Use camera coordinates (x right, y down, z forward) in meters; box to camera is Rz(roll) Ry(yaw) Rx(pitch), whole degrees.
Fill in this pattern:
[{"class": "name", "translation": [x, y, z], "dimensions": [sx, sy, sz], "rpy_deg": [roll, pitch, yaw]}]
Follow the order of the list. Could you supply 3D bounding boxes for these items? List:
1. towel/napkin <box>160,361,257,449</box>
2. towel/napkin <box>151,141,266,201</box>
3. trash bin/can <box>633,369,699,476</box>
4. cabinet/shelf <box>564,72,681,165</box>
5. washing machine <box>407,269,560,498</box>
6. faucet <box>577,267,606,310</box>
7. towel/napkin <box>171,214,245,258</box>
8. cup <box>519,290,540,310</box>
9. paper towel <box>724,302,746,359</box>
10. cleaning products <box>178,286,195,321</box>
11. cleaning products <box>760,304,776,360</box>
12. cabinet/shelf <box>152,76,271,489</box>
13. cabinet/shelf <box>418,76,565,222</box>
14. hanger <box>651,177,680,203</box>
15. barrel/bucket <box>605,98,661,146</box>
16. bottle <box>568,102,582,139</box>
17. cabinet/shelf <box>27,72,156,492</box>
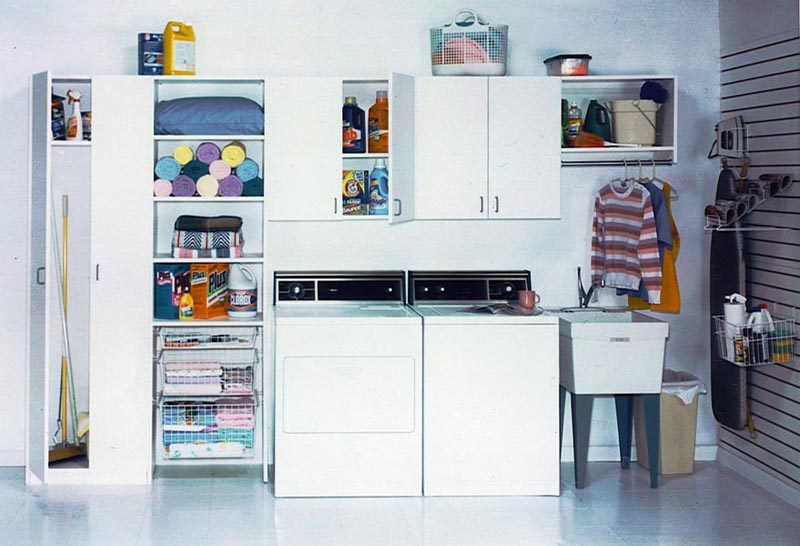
[{"class": "towel/napkin", "translation": [-1.370, 0.924, 6.117], "dimensions": [0.600, 0.574, 0.223], "rpy_deg": [0, 7, 0]}, {"class": "towel/napkin", "translation": [-1.334, -0.714, 6.021], "dimensions": [0.749, 0.351, 0.236], "rpy_deg": [-4, 16, -14]}, {"class": "trash bin/can", "translation": [1.838, 1.080, 6.322], "dimensions": [0.609, 0.741, 0.589], "rpy_deg": [-1, 1, 0]}, {"class": "cabinet/shelf", "translation": [1.568, -1.124, 6.308], "dimensions": [0.822, 0.591, 0.458], "rpy_deg": [-1, 2, 6]}, {"class": "washing machine", "translation": [0.610, 0.814, 5.769], "dimensions": [1.252, 1.800, 1.244], "rpy_deg": [0, -2, -3]}, {"class": "faucet", "translation": [1.418, 0.110, 6.417], "dimensions": [0.199, 0.285, 0.150], "rpy_deg": [-1, 15, -4]}, {"class": "towel/napkin", "translation": [-1.346, -0.246, 6.061], "dimensions": [0.358, 0.215, 0.343], "rpy_deg": [0, 1, -5]}, {"class": "cup", "translation": [0.907, 0.190, 6.010], "dimensions": [0.171, 0.160, 0.110], "rpy_deg": [0, 2, 0]}, {"class": "paper towel", "translation": [2.256, 0.394, 5.856], "dimensions": [0.140, 0.371, 0.138], "rpy_deg": [6, 16, 21]}, {"class": "cleaning products", "translation": [-1.485, 0.218, 6.014], "dimensions": [0.108, 0.205, 0.078], "rpy_deg": [-5, 16, -18]}, {"class": "cleaning products", "translation": [2.477, 0.397, 5.845], "dimensions": [0.114, 0.317, 0.193], "rpy_deg": [6, 16, 21]}, {"class": "cabinet/shelf", "translation": [-1.320, 0.000, 5.954], "dimensions": [0.774, 2.633, 0.630], "rpy_deg": [0, 14, -13]}, {"class": "cabinet/shelf", "translation": [0.616, -0.883, 6.317], "dimensions": [1.081, 1.036, 0.398], "rpy_deg": [1, -5, -1]}, {"class": "hanger", "translation": [1.940, -0.604, 6.322], "dimensions": [0.195, 0.207, 0.343], "rpy_deg": [5, 16, 17]}, {"class": "barrel/bucket", "translation": [1.679, -1.075, 6.190], "dimensions": [0.349, 0.273, 0.322], "rpy_deg": [-1, 7, 0]}, {"class": "bottle", "translation": [1.257, -1.090, 6.245], "dimensions": [0.109, 0.226, 0.155], "rpy_deg": [3, 15, 10]}, {"class": "cabinet/shelf", "translation": [-2.150, -0.001, 6.075], "dimensions": [0.958, 2.716, 1.066], "rpy_deg": [-2, 15, -7]}]
